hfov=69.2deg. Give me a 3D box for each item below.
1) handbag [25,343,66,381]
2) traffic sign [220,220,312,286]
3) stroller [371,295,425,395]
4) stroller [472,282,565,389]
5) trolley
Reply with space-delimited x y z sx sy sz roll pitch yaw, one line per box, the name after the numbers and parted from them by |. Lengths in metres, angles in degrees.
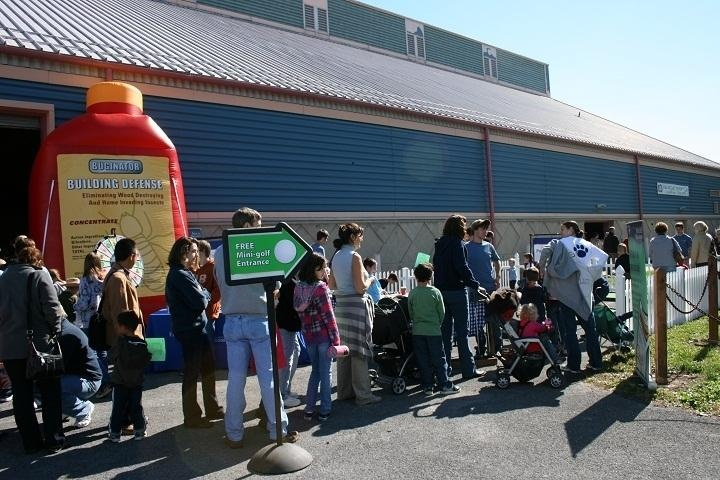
-4.251 1.636 6.934 0.255 0.500 0.461 -22 -18 36 | handbag
-1.192 0.187 6.418 0.969 0.660 0.198 -5 10 -21 | traffic sign
0.624 1.772 8.781 1.442 1.611 0.733 1 1 -7 | stroller
2.850 1.663 8.986 1.236 1.527 0.953 -2 -1 17 | stroller
5.064 1.544 10.271 0.833 1.262 0.657 6 3 33 | trolley
